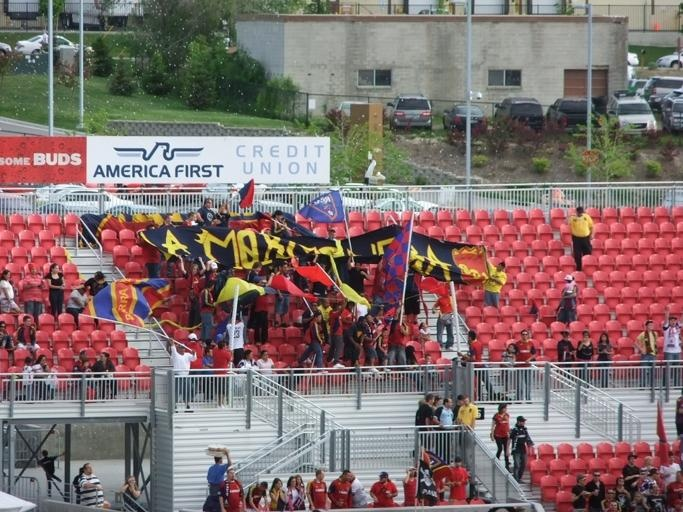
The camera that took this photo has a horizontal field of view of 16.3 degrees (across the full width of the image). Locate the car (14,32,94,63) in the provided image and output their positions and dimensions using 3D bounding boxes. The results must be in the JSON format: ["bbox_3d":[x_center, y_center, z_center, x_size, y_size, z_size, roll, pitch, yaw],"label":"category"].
[{"bbox_3d":[-14.501,-10.619,122.856,3.906,1.292,1.688,-3,11,-10],"label":"car"}]

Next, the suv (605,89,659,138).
[{"bbox_3d":[13.556,-6.628,110.154,2.184,1.605,4.281,-1,6,3],"label":"suv"}]
